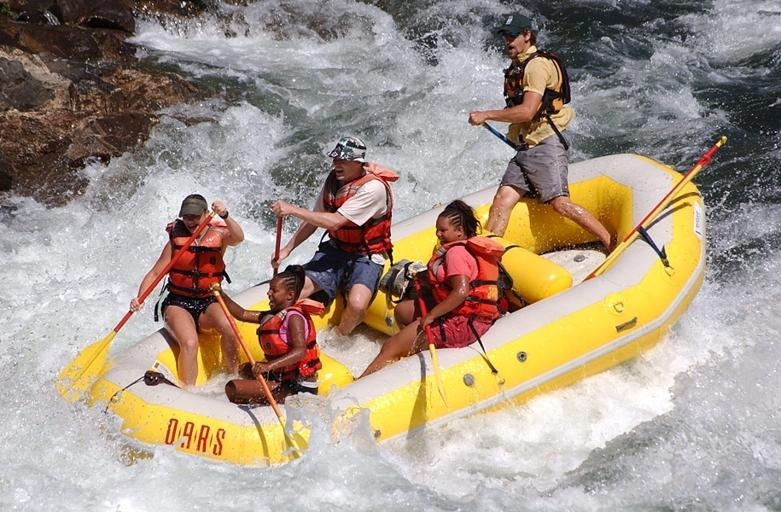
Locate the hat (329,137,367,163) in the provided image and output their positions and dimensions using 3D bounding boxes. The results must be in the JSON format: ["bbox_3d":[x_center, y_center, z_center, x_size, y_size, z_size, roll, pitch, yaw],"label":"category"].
[{"bbox_3d":[-0.371,-0.977,7.669,0.299,0.297,0.151,10,115,13],"label":"hat"}]

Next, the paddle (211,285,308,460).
[{"bbox_3d":[-1.174,1.098,7.195,0.194,0.222,1.663,-38,78,26],"label":"paddle"}]

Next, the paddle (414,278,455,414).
[{"bbox_3d":[0.353,0.795,7.326,0.151,0.061,1.344,-23,70,13],"label":"paddle"}]

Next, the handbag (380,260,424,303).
[{"bbox_3d":[0.115,0.239,7.972,0.440,0.158,0.346,-45,58,-3],"label":"handbag"}]

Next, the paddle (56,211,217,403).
[{"bbox_3d":[-2.576,0.576,8.093,0.340,0.095,2.555,43,73,0],"label":"paddle"}]

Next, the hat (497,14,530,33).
[{"bbox_3d":[1.296,-2.418,8.373,0.322,0.222,0.161,-5,102,-40],"label":"hat"}]
